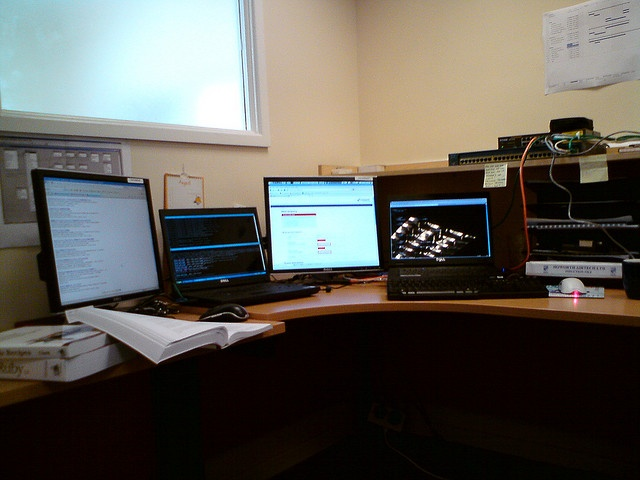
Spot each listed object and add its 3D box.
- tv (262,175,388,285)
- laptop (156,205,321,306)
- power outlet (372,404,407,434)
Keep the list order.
[{"bbox_3d":[0.019,-0.047,2.167,0.484,0.413,0.153,-2,-13,-9],"label":"tv"},{"bbox_3d":[-0.307,0.054,1.914,0.525,0.328,0.561,3,5,25],"label":"laptop"},{"bbox_3d":[0.350,0.933,2.557,0.193,0.145,0.069,-1,9,29],"label":"power outlet"}]
